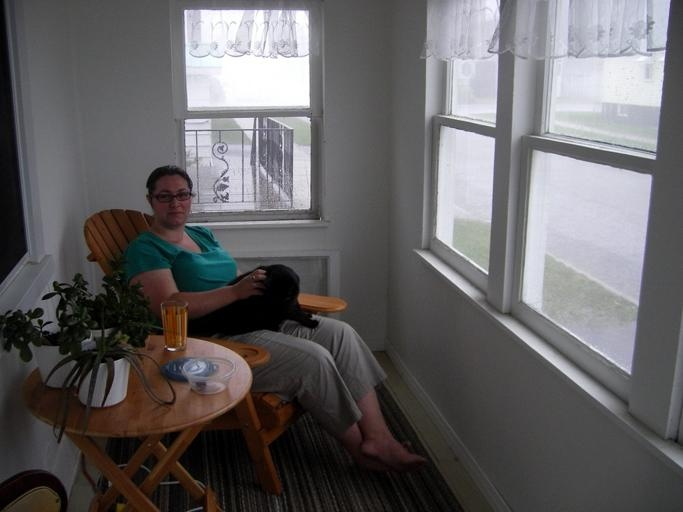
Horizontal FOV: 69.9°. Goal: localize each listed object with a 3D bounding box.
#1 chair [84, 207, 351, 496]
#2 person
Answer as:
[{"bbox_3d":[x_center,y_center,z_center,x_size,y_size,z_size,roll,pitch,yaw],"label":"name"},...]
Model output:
[{"bbox_3d":[-0.739,0.341,2.861,1.470,1.428,1.127,9,14,12],"label":"chair"},{"bbox_3d":[-0.325,0.293,2.554,1.686,1.120,0.865,15,19,34],"label":"person"}]
